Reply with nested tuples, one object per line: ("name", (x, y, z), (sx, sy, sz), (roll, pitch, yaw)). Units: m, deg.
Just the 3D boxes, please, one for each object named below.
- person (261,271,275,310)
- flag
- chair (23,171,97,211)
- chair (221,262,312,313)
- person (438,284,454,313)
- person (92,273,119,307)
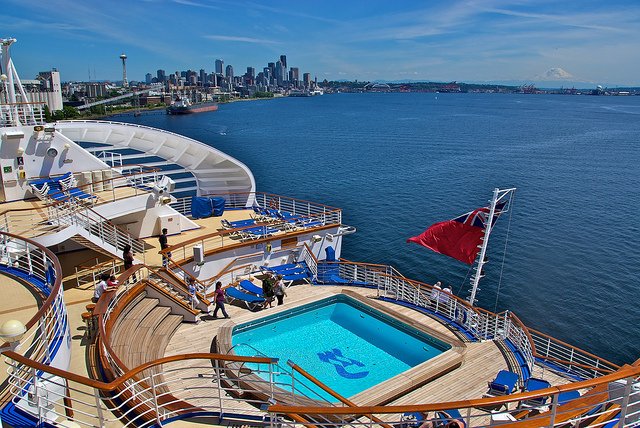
("person", (-2.695, 3.932, 24.441), (0.655, 1.899, 0.839), (-3, 25, -7))
("flag", (6.943, 1.020, 23.308), (3.925, 3.612, 1.557), (38, 12, 38))
("chair", (-15.277, -1.162, 27.150), (3.372, 0.891, 2.311), (22, 29, 28))
("chair", (-2.879, 3.845, 26.215), (4.096, 0.841, 2.157), (-16, 27, -33))
("person", (6.640, 4.330, 24.315), (0.893, 1.216, 0.765), (7, -1, 38))
("person", (-9.524, 3.201, 20.439), (1.102, 1.212, 1.439), (-15, 27, -32))
